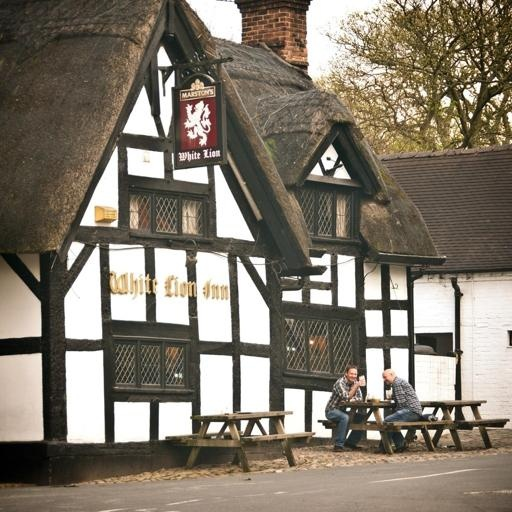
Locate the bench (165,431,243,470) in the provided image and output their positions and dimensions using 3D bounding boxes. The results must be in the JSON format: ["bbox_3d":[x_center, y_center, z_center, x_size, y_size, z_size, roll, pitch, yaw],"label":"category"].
[{"bbox_3d":[-0.596,2.760,21.597,1.224,0.553,1.070,-2,-11,15],"label":"bench"}]

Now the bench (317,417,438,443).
[{"bbox_3d":[1.952,2.618,23.492,0.896,0.462,0.879,6,-10,-45],"label":"bench"}]
